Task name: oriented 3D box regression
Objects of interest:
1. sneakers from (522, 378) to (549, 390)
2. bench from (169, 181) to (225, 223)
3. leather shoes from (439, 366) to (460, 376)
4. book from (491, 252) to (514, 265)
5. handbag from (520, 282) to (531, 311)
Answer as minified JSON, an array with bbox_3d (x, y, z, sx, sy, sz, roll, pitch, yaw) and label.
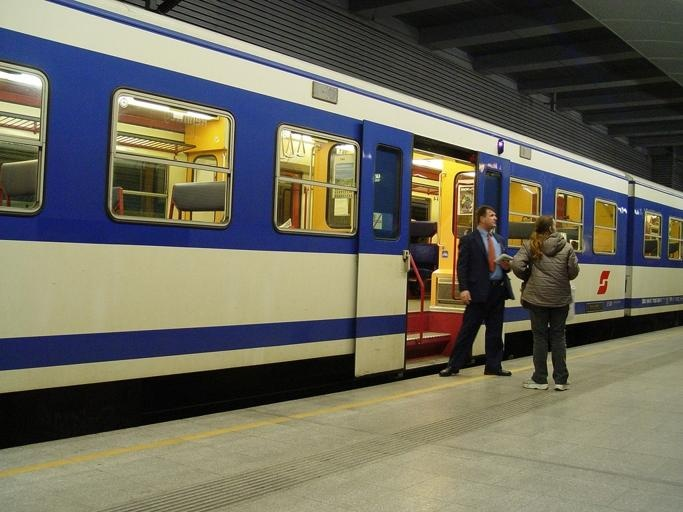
[{"bbox_3d":[2.540,1.684,6.681,0.310,0.153,0.131,5,0,31],"label":"sneakers"},{"bbox_3d":[-1.373,-0.482,4.842,0.582,0.417,0.307,2,-2,-42],"label":"bench"},{"bbox_3d":[1.566,1.644,7.301,0.308,0.138,0.115,3,-5,-8],"label":"leather shoes"},{"bbox_3d":[2.239,0.042,7.172,0.194,0.054,0.183,21,-34,1],"label":"book"},{"bbox_3d":[2.377,0.520,6.688,0.111,0.302,0.222,2,-2,36],"label":"handbag"}]
